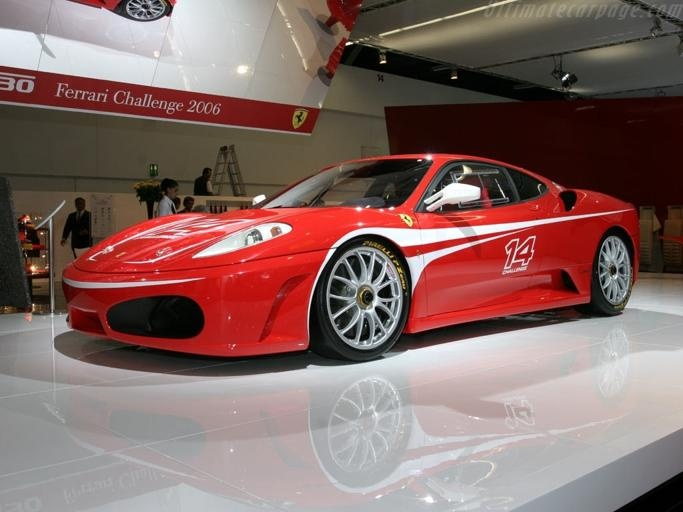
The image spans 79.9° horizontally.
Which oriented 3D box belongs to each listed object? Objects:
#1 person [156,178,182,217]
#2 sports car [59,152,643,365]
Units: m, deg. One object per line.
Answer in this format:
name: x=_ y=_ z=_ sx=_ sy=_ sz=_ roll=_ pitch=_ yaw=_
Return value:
person: x=-2.677 y=-0.852 z=6.304 sx=0.307 sy=0.653 sz=0.706 roll=6 pitch=9 yaw=-16
sports car: x=0.398 y=0.055 z=3.064 sx=3.565 sy=1.033 sz=1.865 roll=1 pitch=-2 yaw=-33
